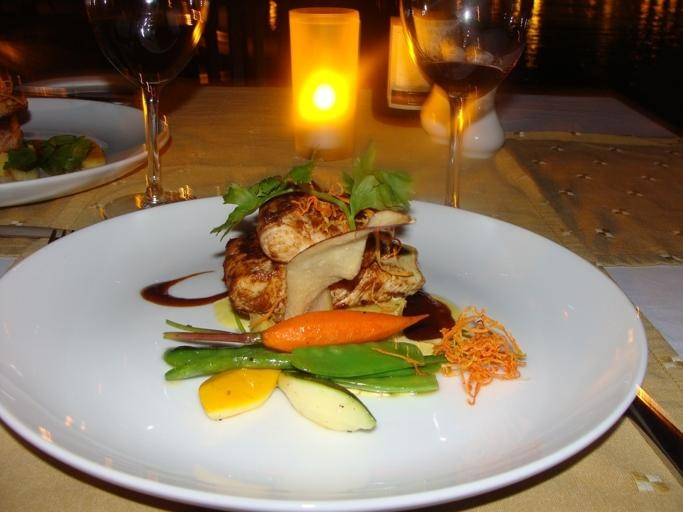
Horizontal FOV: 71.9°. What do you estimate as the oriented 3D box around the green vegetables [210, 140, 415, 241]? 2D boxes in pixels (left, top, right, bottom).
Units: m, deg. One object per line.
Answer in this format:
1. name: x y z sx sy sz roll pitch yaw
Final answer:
1. green vegetables: -0.154 -0.327 1.766 0.619 0.381 0.505 -5 18 -22
